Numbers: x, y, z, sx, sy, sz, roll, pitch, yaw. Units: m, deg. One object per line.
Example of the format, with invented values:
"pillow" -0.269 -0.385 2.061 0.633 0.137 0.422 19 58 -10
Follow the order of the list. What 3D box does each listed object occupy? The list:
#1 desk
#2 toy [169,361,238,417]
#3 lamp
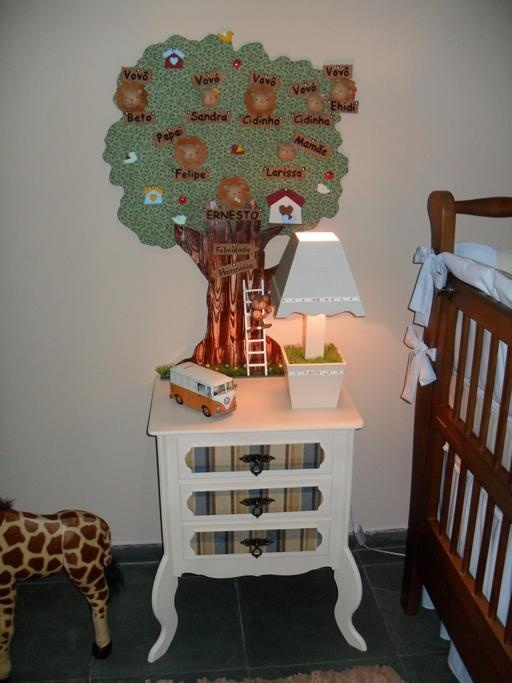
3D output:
"desk" 0.001 0.605 2.053 0.779 0.871 0.606 -2 18 -8
"toy" -0.177 0.164 1.844 0.119 0.120 0.244 -16 25 -40
"lamp" 0.191 -0.069 1.838 0.274 0.571 0.349 0 17 0
